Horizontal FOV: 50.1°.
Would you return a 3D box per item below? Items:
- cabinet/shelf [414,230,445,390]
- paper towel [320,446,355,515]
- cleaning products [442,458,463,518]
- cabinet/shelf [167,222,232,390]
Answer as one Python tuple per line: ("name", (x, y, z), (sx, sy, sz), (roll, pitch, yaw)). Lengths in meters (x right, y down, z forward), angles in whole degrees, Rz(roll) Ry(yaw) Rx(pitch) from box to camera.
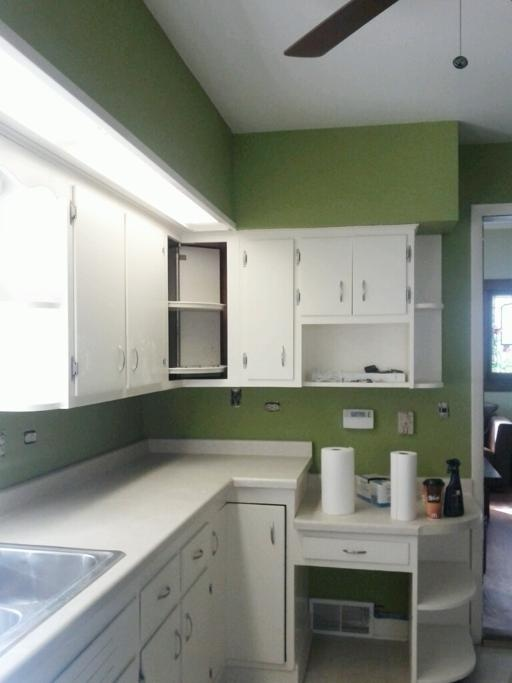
("cabinet/shelf", (0.841, -0.168, 2.680), (0.159, 0.751, 0.287), (3, 0, 20))
("paper towel", (0.355, 0.592, 2.462), (0.166, 0.428, 0.201), (-1, 1, 8))
("cleaning products", (0.841, 0.612, 2.323), (0.085, 0.239, 0.134), (3, 0, 23))
("cabinet/shelf", (-0.284, -0.150, 2.680), (0.348, 0.691, 0.274), (3, 0, -25))
